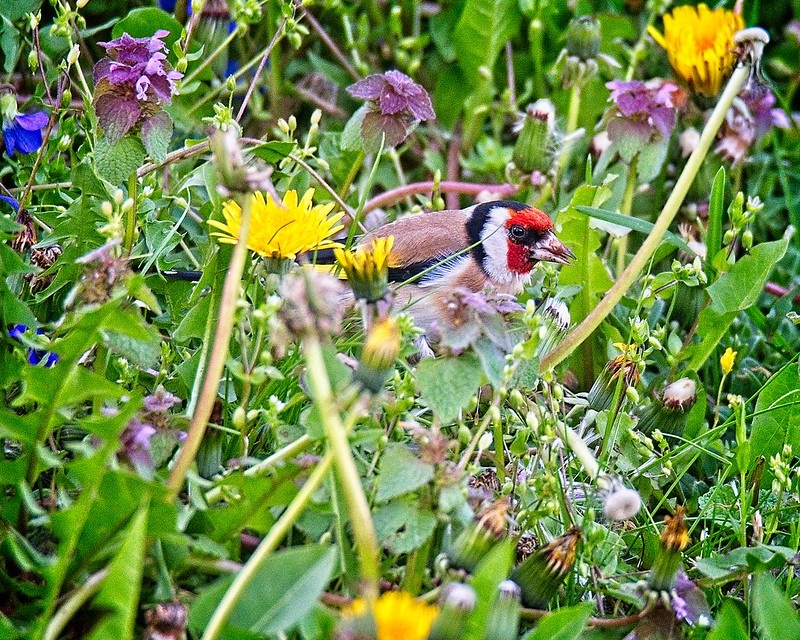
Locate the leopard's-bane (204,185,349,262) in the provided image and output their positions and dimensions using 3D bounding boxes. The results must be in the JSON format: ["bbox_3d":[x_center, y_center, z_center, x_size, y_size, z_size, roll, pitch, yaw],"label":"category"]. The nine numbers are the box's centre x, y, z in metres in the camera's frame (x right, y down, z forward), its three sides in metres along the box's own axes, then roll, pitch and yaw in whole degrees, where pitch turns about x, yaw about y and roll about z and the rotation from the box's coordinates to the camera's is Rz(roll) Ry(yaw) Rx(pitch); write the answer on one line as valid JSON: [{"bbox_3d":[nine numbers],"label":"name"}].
[{"bbox_3d":[-0.223,-0.179,1.558,0.162,0.170,0.110,8,102,9],"label":"leopard's-bane"}]

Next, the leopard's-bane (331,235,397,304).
[{"bbox_3d":[-0.051,-0.072,1.343,0.102,0.102,0.122,-10,86,-7],"label":"leopard's-bane"}]
